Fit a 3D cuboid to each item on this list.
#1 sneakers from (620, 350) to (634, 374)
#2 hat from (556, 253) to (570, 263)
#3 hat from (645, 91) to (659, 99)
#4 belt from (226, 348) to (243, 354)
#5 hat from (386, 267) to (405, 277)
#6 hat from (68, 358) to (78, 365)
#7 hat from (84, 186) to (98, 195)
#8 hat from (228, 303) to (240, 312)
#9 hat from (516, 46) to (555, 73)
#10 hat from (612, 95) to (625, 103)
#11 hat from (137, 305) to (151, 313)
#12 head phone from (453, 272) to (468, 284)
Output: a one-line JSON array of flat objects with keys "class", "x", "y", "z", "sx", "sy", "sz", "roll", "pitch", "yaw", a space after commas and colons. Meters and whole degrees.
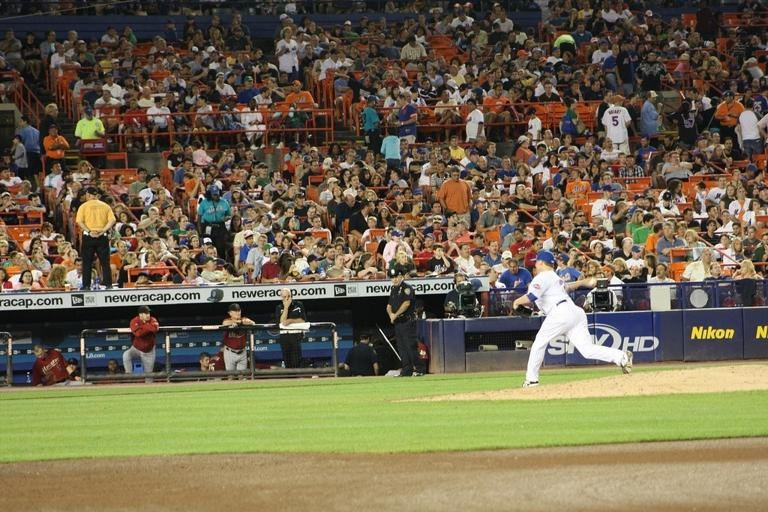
[{"class": "sneakers", "x": 6.314, "y": 2.901, "z": 55.233, "sx": 0.303, "sy": 0.645, "sz": 0.283, "roll": 2, "pitch": 32, "yaw": 10}, {"class": "hat", "x": 4.996, "y": 0.119, "z": 59.666, "sx": 0.306, "sy": 0.168, "sz": 0.223, "roll": 23, "pitch": 18, "yaw": 16}, {"class": "hat", "x": 8.426, "y": -5.051, "z": 67.515, "sx": 0.457, "sy": 0.141, "sz": 0.324, "roll": 6, "pitch": 14, "yaw": 43}, {"class": "belt", "x": -4.264, "y": 2.711, "z": 59.075, "sx": 0.515, "sy": 0.176, "sz": 0.025, "roll": -2, "pitch": -1, "yaw": 8}, {"class": "hat", "x": 0.283, "y": 0.511, "z": 58.634, "sx": 0.397, "sy": 0.310, "sz": 0.385, "roll": -1, "pitch": -1, "yaw": -4}, {"class": "hat", "x": -8.826, "y": 3.063, "z": 59.581, "sx": 0.164, "sy": 0.193, "sz": 0.320, "roll": -2, "pitch": -1, "yaw": 37}, {"class": "hat", "x": -8.476, "y": -1.806, "z": 60.688, "sx": 0.320, "sy": 0.244, "sz": 0.331, "roll": 6, "pitch": 10, "yaw": 35}, {"class": "hat", "x": -4.272, "y": 1.511, "z": 59.254, "sx": 0.275, "sy": 0.251, "sz": 0.225, "roll": -4, "pitch": 3, "yaw": 15}, {"class": "hat", "x": 4.739, "y": -6.436, "z": 69.705, "sx": 0.714, "sy": 0.568, "sz": 1.107, "roll": -20, "pitch": -3, "yaw": -17}, {"class": "hat", "x": 7.370, "y": -4.946, "z": 67.048, "sx": 0.250, "sy": 0.294, "sz": 0.299, "roll": 18, "pitch": -5, "yaw": 18}, {"class": "hat", "x": -6.762, "y": 1.541, "z": 58.625, "sx": 0.259, "sy": 0.127, "sz": 0.186, "roll": -6, "pitch": 3, "yaw": 12}, {"class": "head phone", "x": 2.112, "y": 0.667, "z": 59.377, "sx": 0.263, "sy": 0.320, "sz": 0.295, "roll": -3, "pitch": -10, "yaw": 0}]
